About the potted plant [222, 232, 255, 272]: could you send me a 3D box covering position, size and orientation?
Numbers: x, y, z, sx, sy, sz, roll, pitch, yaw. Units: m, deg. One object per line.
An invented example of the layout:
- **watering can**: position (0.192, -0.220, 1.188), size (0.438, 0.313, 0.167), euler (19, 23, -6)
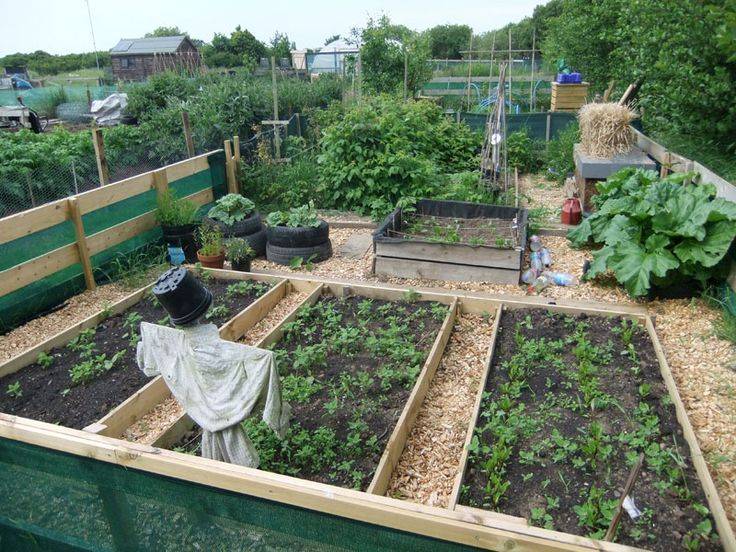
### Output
- **potted plant**: position (-1.681, -0.325, 7.497), size (0.429, 0.489, 0.442), euler (-2, 28, -3)

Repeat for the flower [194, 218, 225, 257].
- **flower**: position (-2.167, -0.555, 7.787), size (0.312, 0.282, 0.415), euler (-6, 43, -15)

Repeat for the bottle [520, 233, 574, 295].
- **bottle**: position (2.240, -0.089, 7.227), size (0.413, 0.320, 0.741), euler (20, 51, 28)

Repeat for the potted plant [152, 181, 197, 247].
- **potted plant**: position (-2.660, -0.926, 8.064), size (0.675, 0.821, 0.727), euler (-3, 25, -5)
